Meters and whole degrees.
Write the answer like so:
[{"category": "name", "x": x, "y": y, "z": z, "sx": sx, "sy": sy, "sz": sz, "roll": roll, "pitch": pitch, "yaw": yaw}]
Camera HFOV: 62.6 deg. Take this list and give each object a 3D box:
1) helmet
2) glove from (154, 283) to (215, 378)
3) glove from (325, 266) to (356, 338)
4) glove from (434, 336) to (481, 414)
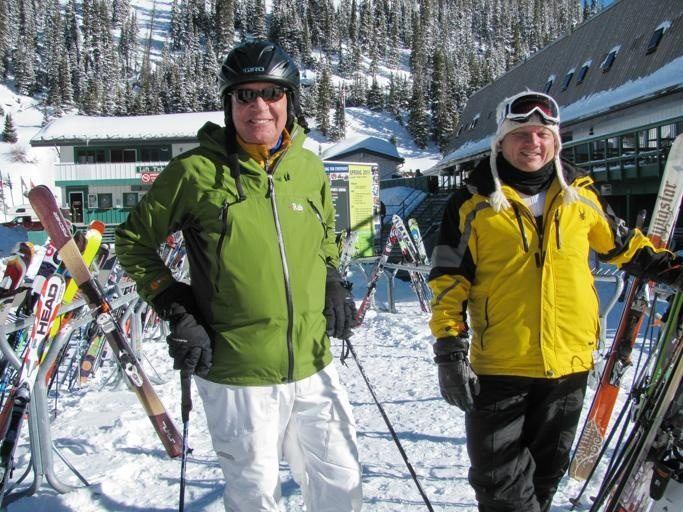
[{"category": "helmet", "x": -0.422, "y": -0.972, "z": 3.009, "sx": 0.270, "sy": 0.268, "sz": 0.372, "roll": 0, "pitch": -23, "yaw": -2}, {"category": "glove", "x": -0.758, "y": 0.377, "z": 2.834, "sx": 0.425, "sy": 0.275, "sz": 0.140, "roll": 52, "pitch": 6, "yaw": 32}, {"category": "glove", "x": -0.009, "y": 0.253, "z": 3.027, "sx": 0.251, "sy": 0.308, "sz": 0.117, "roll": 8, "pitch": -13, "yaw": -41}, {"category": "glove", "x": 0.622, "y": 0.601, "z": 3.005, "sx": 0.270, "sy": 0.385, "sz": 0.180, "roll": -4, "pitch": 7, "yaw": 11}]
